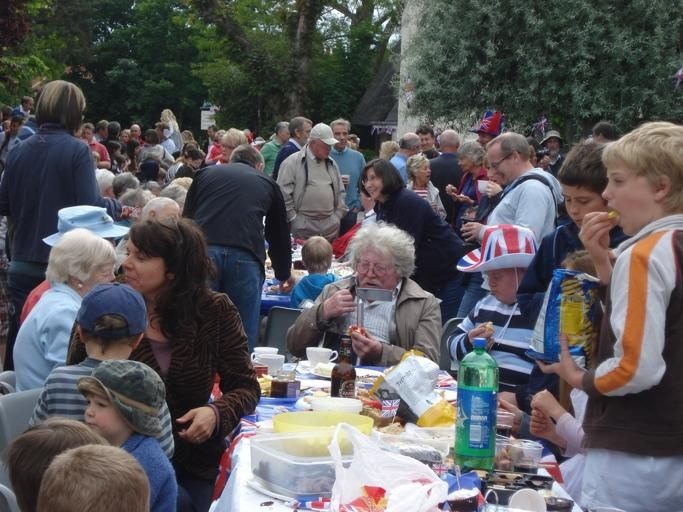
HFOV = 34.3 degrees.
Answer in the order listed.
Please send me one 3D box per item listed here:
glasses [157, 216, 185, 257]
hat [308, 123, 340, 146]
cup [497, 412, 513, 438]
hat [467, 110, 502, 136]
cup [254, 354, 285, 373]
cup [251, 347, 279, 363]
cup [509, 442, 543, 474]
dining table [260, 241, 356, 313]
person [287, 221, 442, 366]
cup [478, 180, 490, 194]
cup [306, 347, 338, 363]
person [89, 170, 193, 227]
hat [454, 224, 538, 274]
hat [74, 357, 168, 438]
[{"bbox_3d":[-1.074,-0.129,6.908,0.142,0.195,0.117,-4,5,-4],"label":"glasses"},{"bbox_3d":[-0.192,-1.375,12.521,0.304,0.185,0.208,13,25,18],"label":"hat"},{"bbox_3d":[0.927,0.990,6.418,0.114,0.131,0.116,2,1,0],"label":"cup"},{"bbox_3d":[1.771,-1.569,13.138,0.257,0.263,0.698,6,2,5],"label":"hat"},{"bbox_3d":[-0.479,0.723,7.470,0.130,0.087,0.134,-1,2,0],"label":"cup"},{"bbox_3d":[-0.535,0.686,7.598,0.125,0.095,0.107,1,2,10],"label":"cup"},{"bbox_3d":[1.034,1.131,6.167,0.160,0.130,0.152,1,-1,0],"label":"cup"},{"bbox_3d":[-0.302,0.199,9.340,0.353,0.786,0.303,23,-13,-15],"label":"dining table"},{"bbox_3d":[0.206,0.313,8.436,0.869,0.741,1.238,3,44,25],"label":"person"},{"bbox_3d":[1.320,-0.645,10.327,0.136,0.105,0.138,-2,1,0],"label":"cup"},{"bbox_3d":[-0.150,0.698,7.716,0.149,0.071,0.124,6,-3,11],"label":"cup"},{"bbox_3d":[-1.882,-0.583,10.364,0.843,0.337,0.529,3,-9,5],"label":"person"},{"bbox_3d":[1.111,-0.041,7.686,0.402,0.165,0.365,-6,8,0],"label":"hat"},{"bbox_3d":[-1.233,0.772,6.337,0.436,0.265,0.405,26,-2,-20],"label":"hat"}]
